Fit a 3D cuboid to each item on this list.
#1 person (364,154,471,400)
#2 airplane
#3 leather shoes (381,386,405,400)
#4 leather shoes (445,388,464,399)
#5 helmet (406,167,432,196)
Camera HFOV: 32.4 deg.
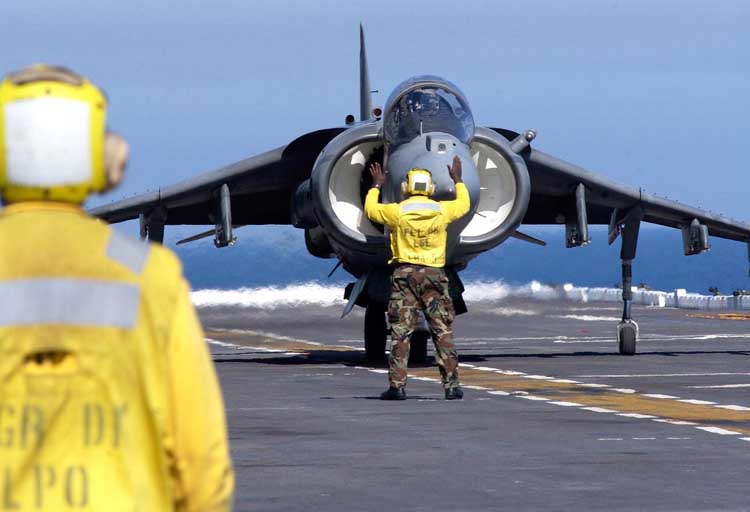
[{"bbox_3d":[0.382,0.158,11.774,0.938,2.133,1.065,1,3,0],"label":"person"},{"bbox_3d":[0.405,-0.045,15.350,7.355,2.633,6.142,0,2,-3],"label":"airplane"},{"bbox_3d":[0.157,1.194,11.355,0.213,0.117,0.205,0,4,-2],"label":"leather shoes"},{"bbox_3d":[0.686,1.197,11.406,0.145,0.104,0.067,-1,4,-18],"label":"leather shoes"},{"bbox_3d":[0.408,-0.707,12.108,0.277,0.216,0.250,1,9,3],"label":"helmet"}]
